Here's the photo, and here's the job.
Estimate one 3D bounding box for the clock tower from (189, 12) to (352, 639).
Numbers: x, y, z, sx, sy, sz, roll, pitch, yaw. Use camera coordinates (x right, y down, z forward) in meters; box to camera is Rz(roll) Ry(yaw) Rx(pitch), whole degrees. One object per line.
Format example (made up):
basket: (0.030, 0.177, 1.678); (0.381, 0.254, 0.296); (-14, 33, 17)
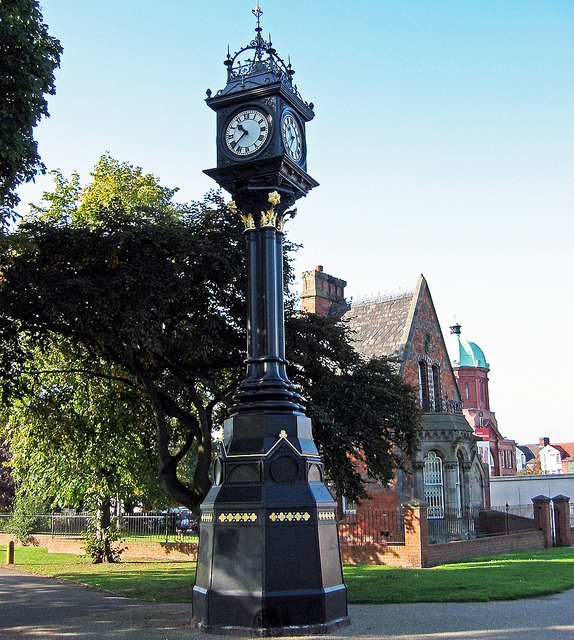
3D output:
clock tower: (-0.278, -0.439, 16.468); (2.346, 11.162, 1.515); (1, -14, -2)

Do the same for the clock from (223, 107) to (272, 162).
clock: (-0.732, -3.375, 17.153); (0.995, 0.924, 0.094); (-19, 39, -31)
